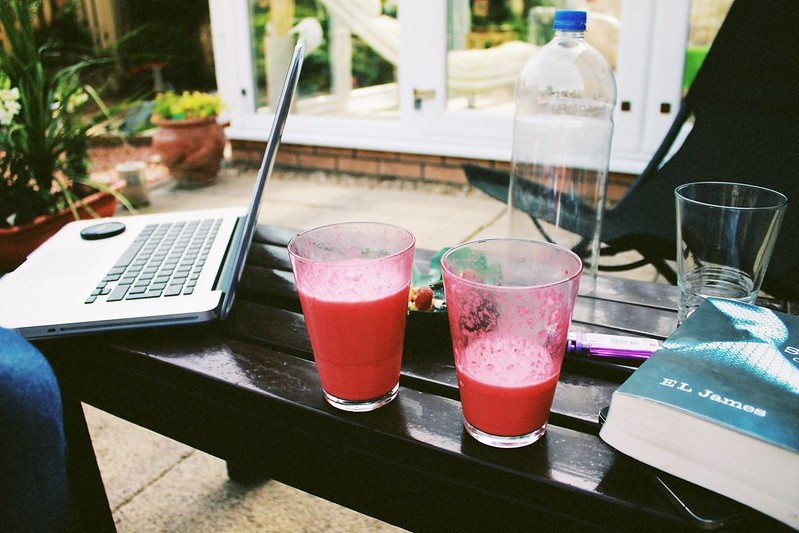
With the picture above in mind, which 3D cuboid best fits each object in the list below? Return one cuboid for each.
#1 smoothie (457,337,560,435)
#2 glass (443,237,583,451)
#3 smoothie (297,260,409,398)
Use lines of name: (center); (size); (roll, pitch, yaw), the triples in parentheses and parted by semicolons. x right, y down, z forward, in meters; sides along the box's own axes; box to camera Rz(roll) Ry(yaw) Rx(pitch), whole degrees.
smoothie: (0.130, 0.139, 0.758); (0.126, 0.089, 0.123); (-1, 24, 1)
glass: (0.138, 0.091, 0.790); (0.145, 0.230, 0.143); (-21, 34, -33)
smoothie: (-0.060, 0.079, 0.808); (0.150, 0.194, 0.069); (0, 29, -1)
